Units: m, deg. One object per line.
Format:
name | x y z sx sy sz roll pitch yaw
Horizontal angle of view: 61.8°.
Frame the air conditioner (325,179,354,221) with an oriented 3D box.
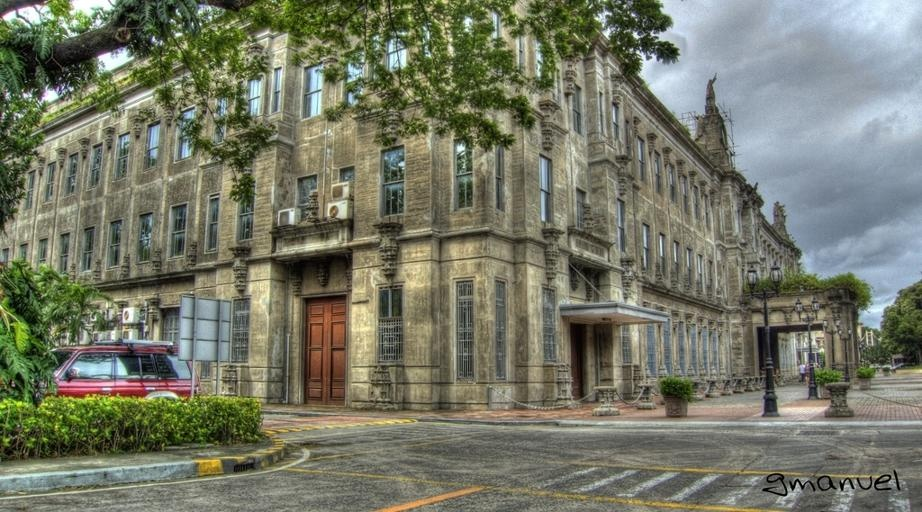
air conditioner | -6.126 -2.783 39.054 1.829 2.375 0.894 -12 -22 35
